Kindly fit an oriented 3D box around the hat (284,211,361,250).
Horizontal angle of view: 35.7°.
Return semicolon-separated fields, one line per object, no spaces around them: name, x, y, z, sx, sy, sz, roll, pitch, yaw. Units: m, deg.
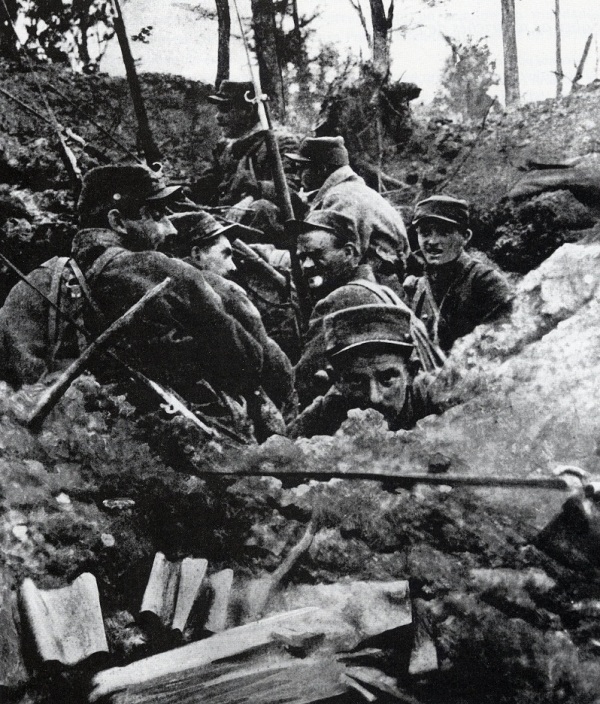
hat;0.222;-0.975;7.070;0.382;0.147;0.302;16;0;-4

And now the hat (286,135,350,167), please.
hat;0.159;-1.545;7.163;0.338;0.133;0.247;0;3;12

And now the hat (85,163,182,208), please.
hat;-1.352;-1.322;7.186;0.517;0.155;0.360;-8;-1;-4

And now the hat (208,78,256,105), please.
hat;-0.523;-2.025;7.231;0.252;0.103;0.184;3;0;20
